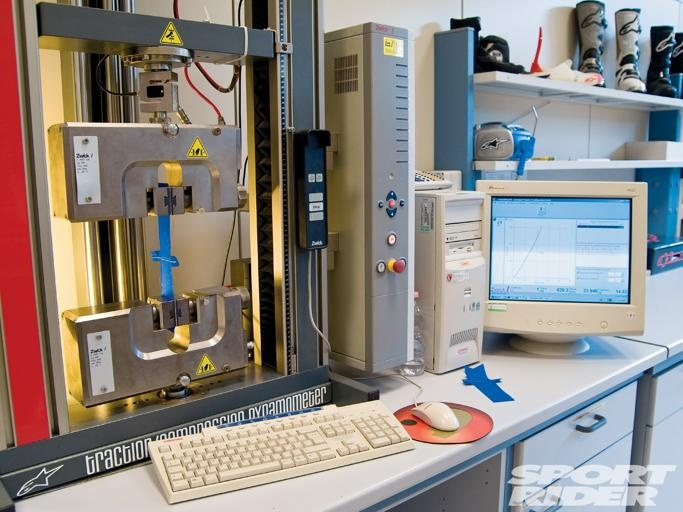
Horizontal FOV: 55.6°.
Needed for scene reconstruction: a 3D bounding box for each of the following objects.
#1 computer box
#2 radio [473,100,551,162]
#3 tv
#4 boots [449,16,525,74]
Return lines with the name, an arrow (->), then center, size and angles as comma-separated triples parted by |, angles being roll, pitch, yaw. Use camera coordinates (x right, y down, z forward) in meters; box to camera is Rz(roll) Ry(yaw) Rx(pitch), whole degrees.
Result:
computer box -> 0.350, 0.067, 2.088 | 0.182, 0.658, 0.191 | -1, 14, -18
radio -> 0.668, -0.477, 2.633 | 0.239, 0.244, 0.166 | 9, 6, 41
tv -> 0.732, 0.010, 2.396 | 0.796, 0.903, 0.503 | 0, -1, 7
boots -> 0.594, -0.859, 2.642 | 0.309, 0.221, 0.241 | 4, 15, 15
